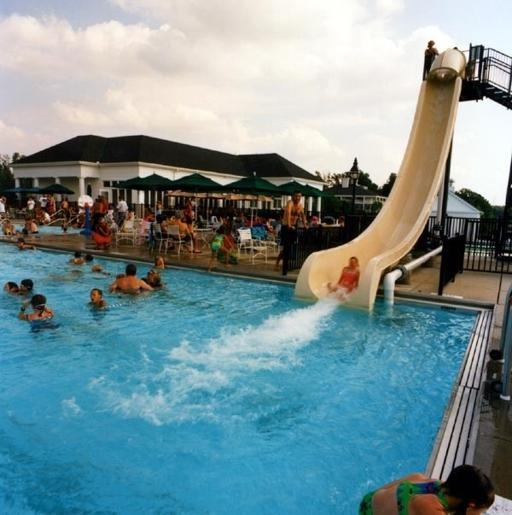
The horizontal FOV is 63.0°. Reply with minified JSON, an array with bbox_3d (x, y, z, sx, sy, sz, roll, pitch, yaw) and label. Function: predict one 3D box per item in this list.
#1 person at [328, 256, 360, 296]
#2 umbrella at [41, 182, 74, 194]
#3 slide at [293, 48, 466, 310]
[{"bbox_3d":[1.854,0.431,9.003,0.565,0.761,0.422,25,7,42],"label":"person"},{"bbox_3d":[-14.243,-5.070,30.556,1.892,0.812,1.891,2,4,32],"label":"umbrella"},{"bbox_3d":[3.955,-2.989,11.285,1.592,6.662,8.423,8,13,32],"label":"slide"}]
